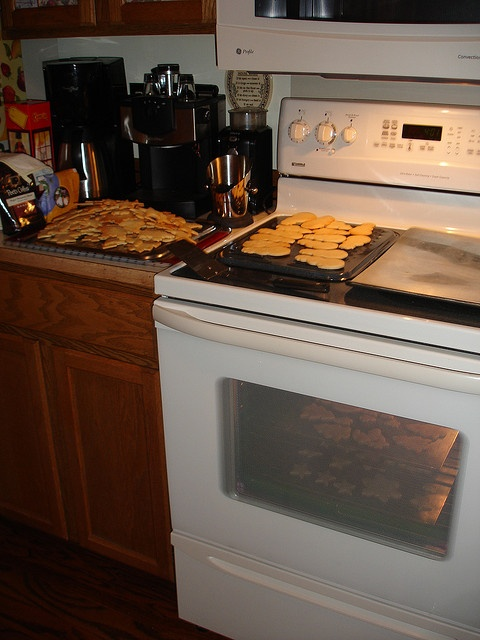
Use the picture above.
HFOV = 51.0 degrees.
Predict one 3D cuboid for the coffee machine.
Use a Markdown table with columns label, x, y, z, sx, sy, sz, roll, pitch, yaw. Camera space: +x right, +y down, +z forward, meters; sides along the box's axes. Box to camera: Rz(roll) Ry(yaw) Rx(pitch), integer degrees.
| label | x | y | z | sx | sy | sz | roll | pitch | yaw |
| --- | --- | --- | --- | --- | --- | --- | --- | --- | --- |
| coffee machine | -0.153 | -0.405 | 1.234 | 0.209 | 0.269 | 0.210 | 18 | 39 | 22 |

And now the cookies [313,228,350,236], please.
| label | x | y | z | sx | sy | sz | roll | pitch | yaw |
| --- | --- | --- | --- | --- | --- | --- | --- | --- | --- |
| cookies | 0.191 | -0.189 | 1.026 | 0.047 | 0.007 | 0.027 | 14 | 33 | 32 |

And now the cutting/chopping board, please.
| label | x | y | z | sx | sy | sz | roll | pitch | yaw |
| --- | --- | --- | --- | --- | --- | --- | --- | --- | --- |
| cutting/chopping board | -0.258 | -0.193 | 1.120 | 0.306 | 0.032 | 0.215 | 13 | 25 | 27 |

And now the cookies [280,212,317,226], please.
| label | x | y | z | sx | sy | sz | roll | pitch | yaw |
| --- | --- | --- | --- | --- | --- | --- | --- | --- | --- |
| cookies | 0.128 | -0.227 | 1.120 | 0.061 | 0.007 | 0.042 | -24 | 31 | -38 |

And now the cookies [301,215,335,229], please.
| label | x | y | z | sx | sy | sz | roll | pitch | yaw |
| --- | --- | --- | --- | --- | --- | --- | --- | --- | --- |
| cookies | 0.165 | -0.211 | 1.089 | 0.040 | 0.008 | 0.056 | 16 | 30 | 40 |

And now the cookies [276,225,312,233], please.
| label | x | y | z | sx | sy | sz | roll | pitch | yaw |
| --- | --- | --- | --- | --- | --- | --- | --- | --- | --- |
| cookies | 0.113 | -0.192 | 1.058 | 0.053 | 0.006 | 0.024 | 13 | 29 | 33 |

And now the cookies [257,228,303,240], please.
| label | x | y | z | sx | sy | sz | roll | pitch | yaw |
| --- | --- | --- | --- | --- | --- | --- | --- | --- | --- |
| cookies | 0.077 | -0.171 | 1.013 | 0.043 | 0.008 | 0.061 | 17 | 28 | 31 |
